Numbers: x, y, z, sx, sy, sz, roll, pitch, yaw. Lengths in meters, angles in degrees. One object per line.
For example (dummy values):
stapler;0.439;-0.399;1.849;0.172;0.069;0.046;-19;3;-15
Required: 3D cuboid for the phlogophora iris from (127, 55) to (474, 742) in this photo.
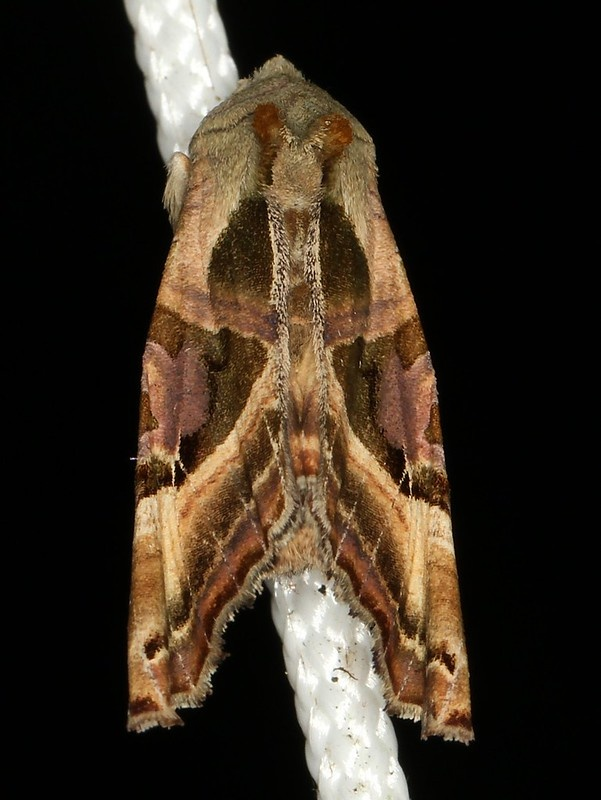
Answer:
phlogophora iris;-0.020;0.020;2.323;0.506;1.280;0.461;-1;2;-4
